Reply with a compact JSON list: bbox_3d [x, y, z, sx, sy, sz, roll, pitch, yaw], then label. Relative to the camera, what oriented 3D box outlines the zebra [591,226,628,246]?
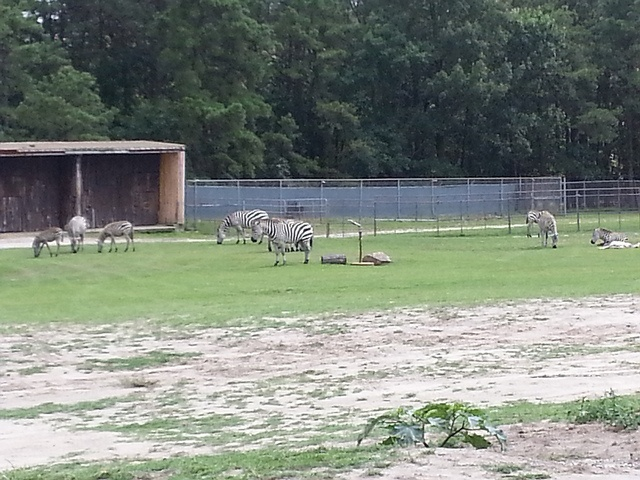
[{"bbox_3d":[15.185,-0.170,79.737,1.411,0.908,2.181,-2,0,-23],"label":"zebra"}]

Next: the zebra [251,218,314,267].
[{"bbox_3d":[-1.667,0.065,73.175,2.645,2.250,4.318,-2,0,-5],"label":"zebra"}]
